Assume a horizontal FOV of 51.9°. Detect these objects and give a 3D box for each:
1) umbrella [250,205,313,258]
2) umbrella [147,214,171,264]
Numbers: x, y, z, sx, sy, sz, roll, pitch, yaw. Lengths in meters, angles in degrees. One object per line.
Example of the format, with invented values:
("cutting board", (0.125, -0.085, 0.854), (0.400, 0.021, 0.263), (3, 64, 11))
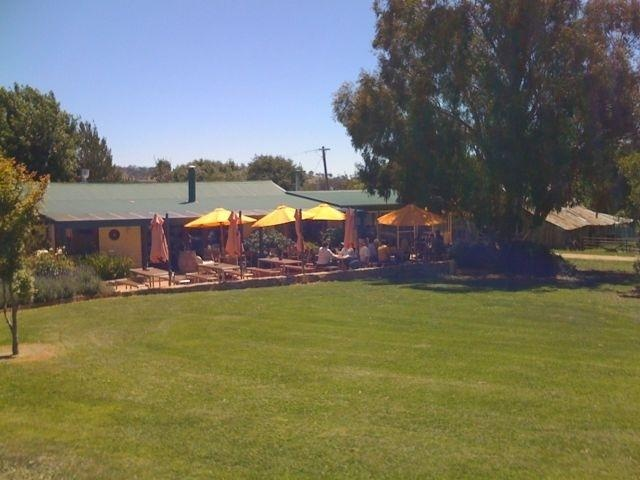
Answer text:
("umbrella", (-1.487, -0.227, 28.061), (1.904, 1.710, 2.055), (-3, 6, -1))
("umbrella", (-6.255, -0.060, 25.543), (0.740, 2.084, 1.885), (-4, 15, -14))
